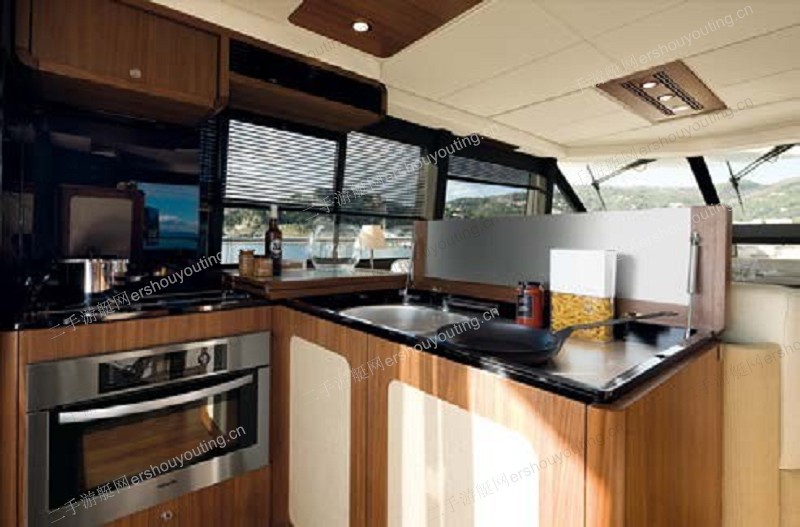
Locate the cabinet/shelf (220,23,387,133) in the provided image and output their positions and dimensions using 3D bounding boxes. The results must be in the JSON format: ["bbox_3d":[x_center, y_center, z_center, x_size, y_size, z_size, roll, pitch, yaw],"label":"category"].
[{"bbox_3d":[-0.641,-1.119,3.115,1.053,0.291,0.434,0,1,-39],"label":"cabinet/shelf"}]

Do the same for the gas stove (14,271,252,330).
[{"bbox_3d":[-1.344,0.161,2.547,1.037,0.215,0.709,0,1,-31],"label":"gas stove"}]

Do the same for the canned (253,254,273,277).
[{"bbox_3d":[-0.780,0.013,2.872,0.129,0.107,0.118,0,-4,-3],"label":"canned"}]

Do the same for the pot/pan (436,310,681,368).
[{"bbox_3d":[0.549,0.298,2.026,0.725,0.085,0.336,0,0,-6],"label":"pot/pan"}]

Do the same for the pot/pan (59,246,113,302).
[{"bbox_3d":[-1.527,0.073,2.465,0.338,0.222,0.207,-1,-4,39],"label":"pot/pan"}]
